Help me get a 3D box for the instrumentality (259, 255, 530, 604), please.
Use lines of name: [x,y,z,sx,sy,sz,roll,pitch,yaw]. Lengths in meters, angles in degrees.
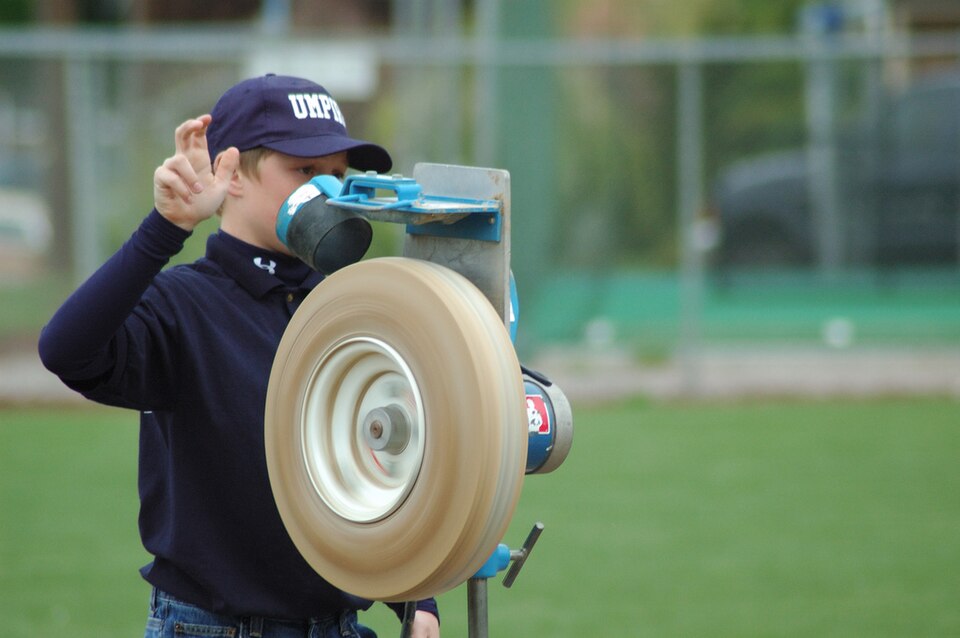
instrumentality: [-0.424,0.531,9.439,1.381,1.521,0.446,13,3,26]
